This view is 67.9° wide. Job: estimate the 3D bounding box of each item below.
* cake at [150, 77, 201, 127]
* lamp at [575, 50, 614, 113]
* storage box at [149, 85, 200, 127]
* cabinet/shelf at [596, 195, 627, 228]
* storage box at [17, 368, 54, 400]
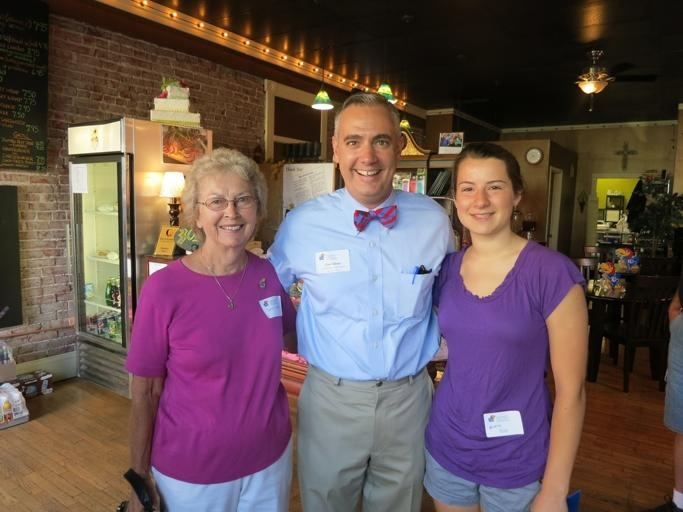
[{"bbox_3d":[-1.840,-1.600,5.405,0.570,0.392,0.602,3,24,17],"label":"cake"},{"bbox_3d":[3.598,-2.514,7.282,0.555,0.810,0.549,2,12,15],"label":"lamp"},{"bbox_3d":[-1.768,-1.530,5.377,0.466,0.418,0.465,1,4,-35],"label":"storage box"},{"bbox_3d":[7.104,-1.199,13.325,0.607,0.840,0.544,8,15,26],"label":"cabinet/shelf"},{"bbox_3d":[-3.039,1.265,5.018,0.306,0.215,0.231,-11,18,-39],"label":"storage box"}]
